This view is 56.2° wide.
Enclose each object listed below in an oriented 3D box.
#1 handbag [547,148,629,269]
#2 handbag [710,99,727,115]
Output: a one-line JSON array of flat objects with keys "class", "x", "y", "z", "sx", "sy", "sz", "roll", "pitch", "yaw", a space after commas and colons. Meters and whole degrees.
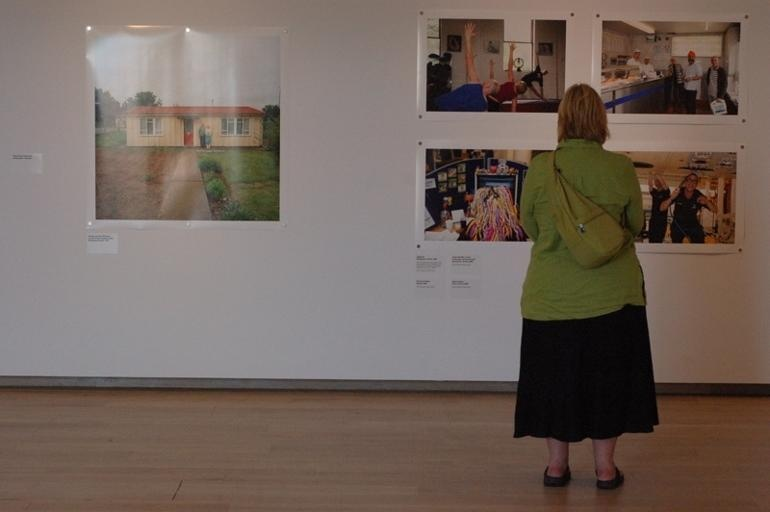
[{"class": "handbag", "x": 1.297, "y": -0.300, "z": 4.796, "sx": 0.369, "sy": 0.665, "sz": 0.221, "roll": -36, "pitch": -10, "yaw": 35}, {"class": "handbag", "x": 2.819, "y": -1.268, "z": 6.114, "sx": 0.109, "sy": 0.125, "sz": 0.047, "roll": -3, "pitch": 16, "yaw": 14}]
